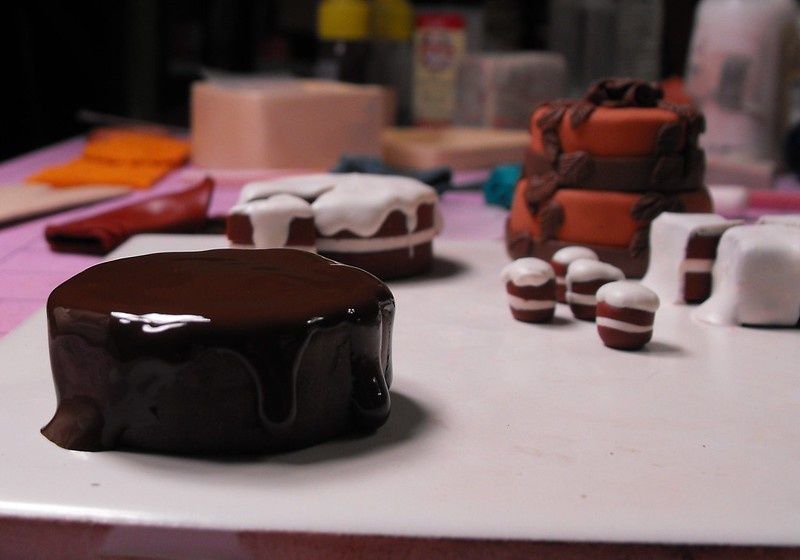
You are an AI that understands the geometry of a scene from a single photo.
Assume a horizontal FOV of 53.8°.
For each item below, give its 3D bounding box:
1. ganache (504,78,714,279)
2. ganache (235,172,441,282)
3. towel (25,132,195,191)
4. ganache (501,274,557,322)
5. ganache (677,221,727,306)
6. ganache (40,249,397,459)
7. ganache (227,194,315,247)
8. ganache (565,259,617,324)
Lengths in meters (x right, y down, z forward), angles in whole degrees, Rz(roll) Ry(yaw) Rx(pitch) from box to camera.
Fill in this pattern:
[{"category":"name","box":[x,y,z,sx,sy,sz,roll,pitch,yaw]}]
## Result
[{"category":"ganache","box":[0.258,-0.146,1.079,0.252,0.217,0.245,-2,15,-5]},{"category":"ganache","box":[-0.069,-0.076,1.006,0.170,0.062,0.174,-6,13,-38]},{"category":"towel","box":[-0.561,-0.240,1.589,0.193,0.040,0.180,8,27,15]},{"category":"ganache","box":[0.144,0.022,0.895,0.052,0.049,0.053,-1,-2,-32]},{"category":"ganache","box":[0.348,-0.014,0.871,0.075,0.102,0.076,3,2,19]},{"category":"ganache","box":[-0.143,0.021,0.625,0.185,0.078,0.196,7,12,23]},{"category":"ganache","box":[-0.164,-0.076,1.003,0.119,0.070,0.117,2,12,1]},{"category":"ganache","box":[0.202,0.007,0.913,0.070,0.067,0.070,11,8,20]}]
